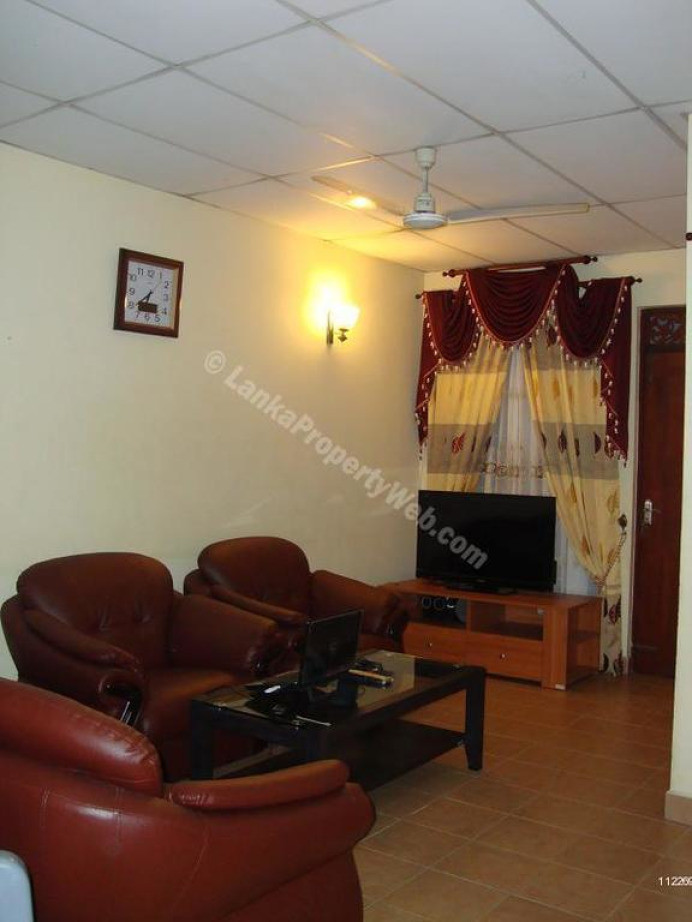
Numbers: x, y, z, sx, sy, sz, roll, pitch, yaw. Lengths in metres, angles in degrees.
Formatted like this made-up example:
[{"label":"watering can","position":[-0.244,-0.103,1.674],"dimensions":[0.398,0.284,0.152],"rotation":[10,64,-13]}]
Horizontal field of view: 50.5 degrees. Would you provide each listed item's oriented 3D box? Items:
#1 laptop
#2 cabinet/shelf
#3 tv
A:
[{"label":"laptop","position":[-0.138,0.745,2.941],"dimensions":[0.383,0.242,0.291],"rotation":[3,0,-42]},{"label":"cabinet/shelf","position":[1.018,1.216,5.258],"dimensions":[1.424,0.541,0.549],"rotation":[-1,-5,38]},{"label":"tv","position":[1.014,0.589,5.285],"dimensions":[1.033,0.709,0.250],"rotation":[2,0,29]}]
